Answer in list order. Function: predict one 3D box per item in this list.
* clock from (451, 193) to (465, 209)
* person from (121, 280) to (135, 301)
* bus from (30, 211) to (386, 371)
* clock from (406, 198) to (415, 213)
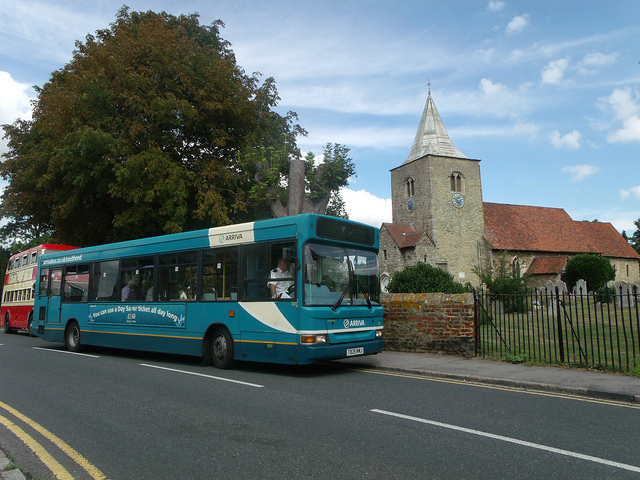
[{"bbox_3d":[15.222,-4.282,52.078,1.238,1.287,0.086,31,-14,-10],"label":"clock"},{"bbox_3d":[-5.676,1.509,13.891,0.282,0.844,0.443,9,6,-18],"label":"person"},{"bbox_3d":[-4.861,1.496,15.159,13.988,3.937,4.064,-7,-9,40],"label":"bus"},{"bbox_3d":[10.401,-3.992,53.857,0.443,2.046,1.676,5,-3,-32],"label":"clock"}]
